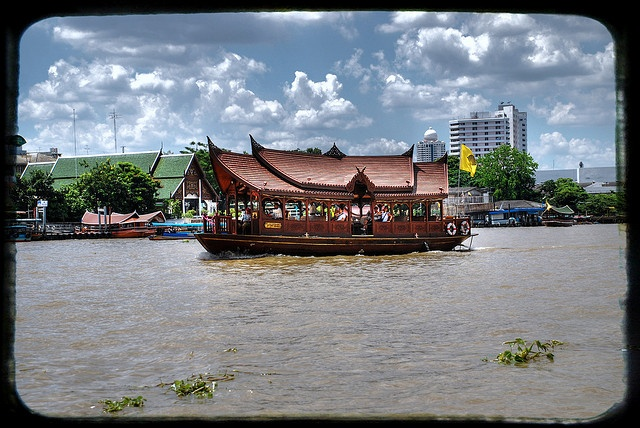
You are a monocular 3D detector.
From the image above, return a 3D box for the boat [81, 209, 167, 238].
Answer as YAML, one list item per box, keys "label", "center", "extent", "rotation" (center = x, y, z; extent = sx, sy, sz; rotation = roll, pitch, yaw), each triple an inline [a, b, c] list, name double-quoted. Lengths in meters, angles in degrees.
- label: "boat"
  center: [-11.872, 0.365, 56.451]
  extent: [3.072, 0.910, 2.094]
  rotation: [-3, -3, 31]

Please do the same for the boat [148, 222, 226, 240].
- label: "boat"
  center: [-6.804, 0.827, 47.916]
  extent: [4.702, 1.105, 1.018]
  rotation: [0, 4, 16]

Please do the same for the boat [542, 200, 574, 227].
- label: "boat"
  center: [18.142, 0.128, 74.876]
  extent: [2.238, 1.484, 3.439]
  rotation: [2, 7, 23]

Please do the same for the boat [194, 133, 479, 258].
- label: "boat"
  center: [0.532, -0.572, 37.023]
  extent: [11.657, 4.225, 3.935]
  rotation: [0, 0, -31]

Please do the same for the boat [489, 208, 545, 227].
- label: "boat"
  center: [15.233, 0.170, 76.828]
  extent: [4.067, 1.333, 3.514]
  rotation: [0, 7, 9]
